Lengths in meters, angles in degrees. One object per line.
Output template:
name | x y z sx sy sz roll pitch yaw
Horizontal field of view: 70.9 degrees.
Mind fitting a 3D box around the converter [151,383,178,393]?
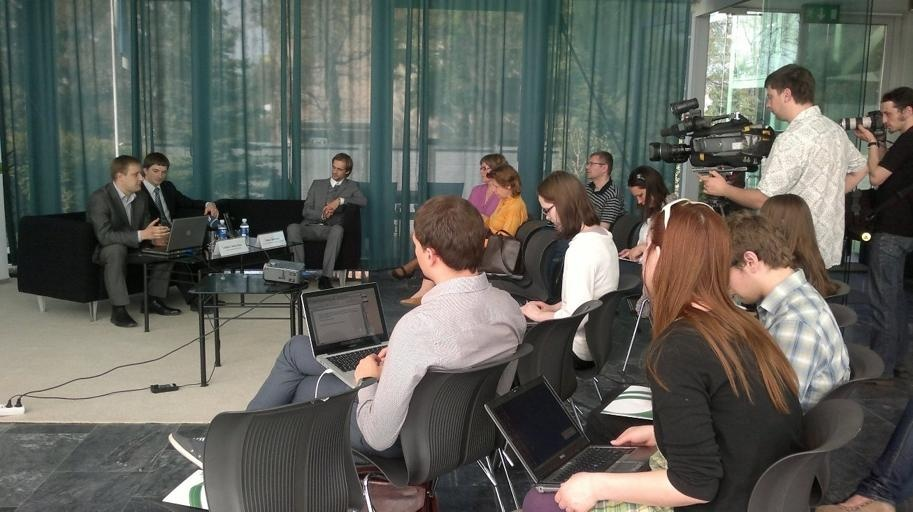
converter | -2.394 1.076 5.283 0.144 0.051 0.092 -1 8 -20

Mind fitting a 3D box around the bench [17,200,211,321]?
bench | -3.871 0.033 7.144 1.049 1.074 1.776 3 6 24

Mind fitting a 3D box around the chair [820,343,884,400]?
chair | 2.231 0.672 3.576 0.241 0.304 0.507 2 9 38

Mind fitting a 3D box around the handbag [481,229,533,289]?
handbag | 0.528 -0.039 6.263 0.277 0.435 0.548 -14 -8 36

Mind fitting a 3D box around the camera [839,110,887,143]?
camera | 3.457 -1.113 5.453 0.337 0.176 0.300 -1 3 13

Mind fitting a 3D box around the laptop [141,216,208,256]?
laptop | -2.887 -0.221 6.544 0.460 0.313 0.545 3 6 24

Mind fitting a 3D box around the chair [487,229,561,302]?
chair | 0.696 0.094 5.988 0.658 0.570 0.852 0 3 -21

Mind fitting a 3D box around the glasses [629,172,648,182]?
glasses | 1.950 -0.845 6.819 0.092 0.064 0.116 4 9 -39

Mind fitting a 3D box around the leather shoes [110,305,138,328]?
leather shoes | -3.379 0.609 6.537 0.218 0.202 0.283 -9 9 -32

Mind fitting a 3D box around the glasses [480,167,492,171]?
glasses | 0.358 -1.058 7.749 0.078 0.022 0.072 2 -1 -32

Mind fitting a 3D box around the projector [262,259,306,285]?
projector | -1.476 0.132 5.518 0.324 0.131 0.188 5 6 17

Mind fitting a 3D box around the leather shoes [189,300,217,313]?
leather shoes | -2.385 0.469 6.081 0.239 0.089 0.292 0 2 3

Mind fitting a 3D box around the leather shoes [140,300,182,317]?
leather shoes | -3.155 0.552 6.908 0.539 0.206 0.171 2 3 4

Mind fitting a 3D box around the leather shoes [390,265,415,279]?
leather shoes | -0.664 0.196 8.153 0.285 0.094 0.137 -5 44 -2

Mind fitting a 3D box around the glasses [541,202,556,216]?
glasses | 0.712 -0.359 4.847 0.028 0.081 0.083 -1 -6 -20

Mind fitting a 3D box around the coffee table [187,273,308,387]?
coffee table | -1.839 0.656 5.779 1.084 0.756 1.051 -3 0 -33
